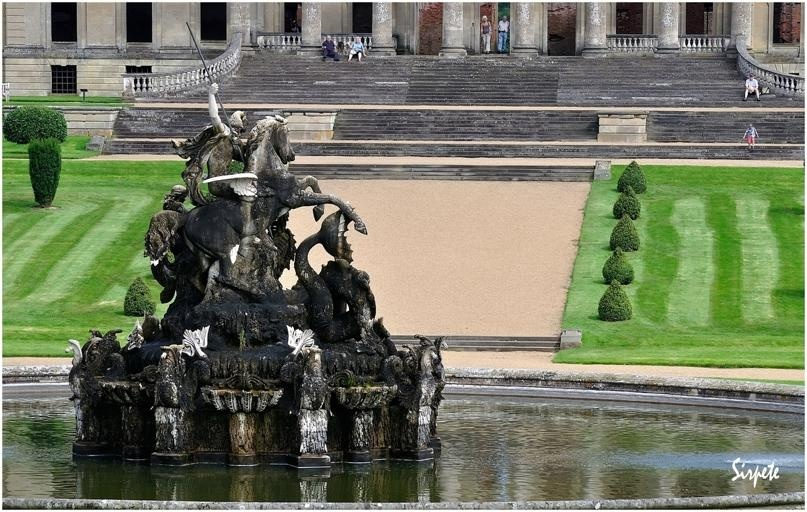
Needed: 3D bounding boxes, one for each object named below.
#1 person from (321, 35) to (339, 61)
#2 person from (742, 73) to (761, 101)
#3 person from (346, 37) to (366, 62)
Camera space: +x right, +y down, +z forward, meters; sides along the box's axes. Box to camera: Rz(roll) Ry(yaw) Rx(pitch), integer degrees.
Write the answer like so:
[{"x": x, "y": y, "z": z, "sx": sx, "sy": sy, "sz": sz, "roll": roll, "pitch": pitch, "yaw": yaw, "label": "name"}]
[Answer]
[{"x": -3.470, "y": -9.537, "z": 91.742, "sx": 0.859, "sy": 0.975, "sz": 1.896, "roll": 4, "pitch": 9, "yaw": -3, "label": "person"}, {"x": 14.927, "y": -7.064, "z": 84.316, "sx": 0.717, "sy": 0.971, "sz": 1.888, "roll": 7, "pitch": 10, "yaw": 9, "label": "person"}, {"x": -2.300, "y": -9.587, "z": 91.630, "sx": 0.683, "sy": 0.538, "sz": 1.381, "roll": -1, "pitch": 32, "yaw": 2, "label": "person"}]
